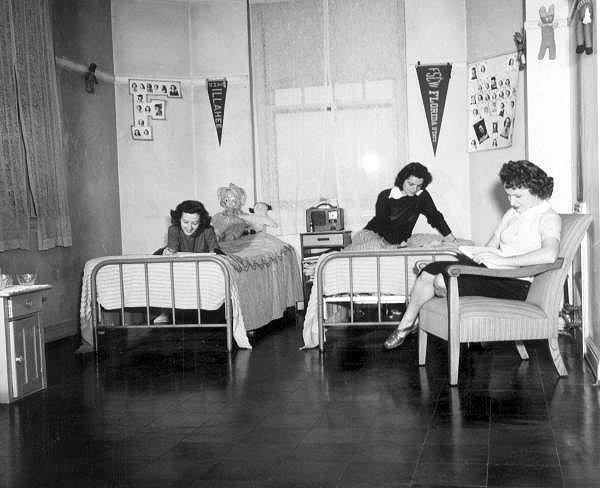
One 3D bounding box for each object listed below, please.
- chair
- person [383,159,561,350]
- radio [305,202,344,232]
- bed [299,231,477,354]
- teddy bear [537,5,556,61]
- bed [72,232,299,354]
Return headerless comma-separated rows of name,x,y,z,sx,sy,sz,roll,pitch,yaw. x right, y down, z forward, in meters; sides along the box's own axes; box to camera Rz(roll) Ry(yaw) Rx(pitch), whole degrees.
chair,1.311,0.444,4.138,1.131,1.373,0.882,1,-4,-1
person,1.090,-0.032,3.788,1.243,1.629,0.723,3,11,15
radio,0.327,-0.310,7.035,0.482,0.439,0.396,0,-12,-1
bed,0.703,0.281,4.941,1.107,0.738,1.219,1,0,9
teddy bear,2.202,-1.901,4.860,0.141,0.461,0.232,0,2,26
bed,-0.741,0.372,5.611,1.041,0.791,1.722,-2,-3,10
